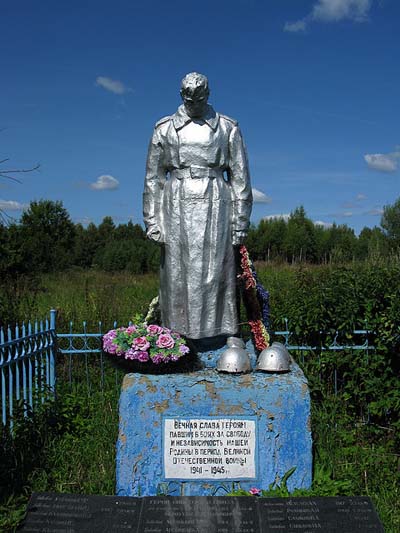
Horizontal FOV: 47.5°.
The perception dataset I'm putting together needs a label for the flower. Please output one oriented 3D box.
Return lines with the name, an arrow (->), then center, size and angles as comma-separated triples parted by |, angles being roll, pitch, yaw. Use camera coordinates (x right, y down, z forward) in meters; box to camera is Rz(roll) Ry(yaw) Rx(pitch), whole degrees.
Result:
flower -> -0.220, 0.216, 4.112 | 1.080, 1.242, 1.276 | 5, -3, -28
